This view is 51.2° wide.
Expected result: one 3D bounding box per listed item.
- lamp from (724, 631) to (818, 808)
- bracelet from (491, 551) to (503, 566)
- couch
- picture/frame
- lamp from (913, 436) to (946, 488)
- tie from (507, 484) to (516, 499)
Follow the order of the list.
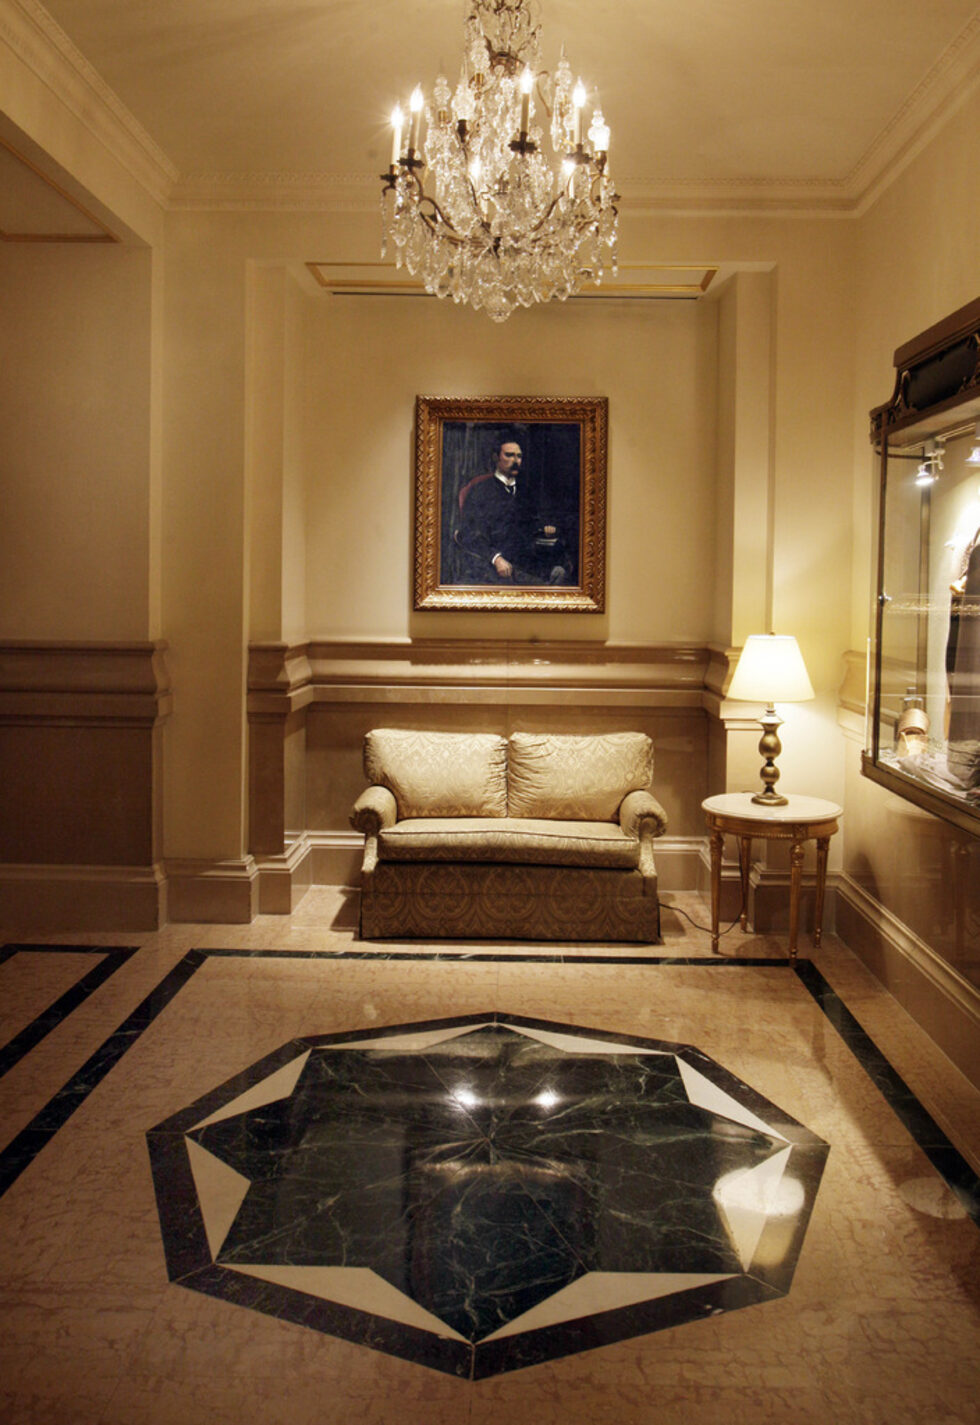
[{"bbox_3d":[1.171,0.017,4.296,0.321,0.716,0.566,1,3,16],"label":"lamp"},{"bbox_3d":[0.037,-0.792,5.195,0.044,0.068,0.017,2,3,13],"label":"bracelet"},{"bbox_3d":[0.074,0.544,4.654,1.376,0.868,0.640,0,3,2],"label":"couch"},{"bbox_3d":[0.115,-1.097,5.156,0.977,1.183,0.086,1,4,2],"label":"picture/frame"},{"bbox_3d":[1.326,-0.763,3.124,0.094,0.158,0.080,5,-9,-8],"label":"lamp"},{"bbox_3d":[0.109,-1.124,5.161,0.044,0.070,0.019,0,1,2],"label":"tie"}]
